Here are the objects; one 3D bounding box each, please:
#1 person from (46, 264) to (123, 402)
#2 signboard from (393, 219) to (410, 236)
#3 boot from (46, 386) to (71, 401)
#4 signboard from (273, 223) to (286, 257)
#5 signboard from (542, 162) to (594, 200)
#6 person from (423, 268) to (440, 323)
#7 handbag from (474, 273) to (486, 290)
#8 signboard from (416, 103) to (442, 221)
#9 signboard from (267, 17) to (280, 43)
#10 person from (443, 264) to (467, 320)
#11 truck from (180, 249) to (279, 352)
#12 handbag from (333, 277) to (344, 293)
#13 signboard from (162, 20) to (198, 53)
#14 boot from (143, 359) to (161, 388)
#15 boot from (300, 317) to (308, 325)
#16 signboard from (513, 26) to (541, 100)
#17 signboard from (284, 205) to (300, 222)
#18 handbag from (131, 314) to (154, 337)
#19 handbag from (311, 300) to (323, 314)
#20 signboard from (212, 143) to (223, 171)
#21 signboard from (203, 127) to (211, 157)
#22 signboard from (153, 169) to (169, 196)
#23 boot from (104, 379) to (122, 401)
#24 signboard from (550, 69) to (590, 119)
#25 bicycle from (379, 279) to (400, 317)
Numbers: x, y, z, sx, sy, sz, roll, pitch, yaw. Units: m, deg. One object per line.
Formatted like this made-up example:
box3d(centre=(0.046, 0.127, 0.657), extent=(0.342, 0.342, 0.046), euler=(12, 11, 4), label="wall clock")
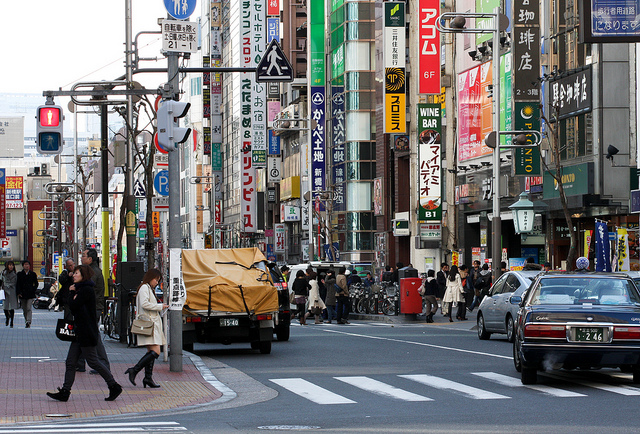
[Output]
box3d(centre=(-4.541, 2.230, 20.949), extent=(1.220, 2.418, 0.702), euler=(-1, 0, -15), label="person")
box3d(centre=(4.573, 0.600, 61.819), extent=(0.711, 1.141, 1.271), euler=(4, -5, -26), label="signboard")
box3d(centre=(-4.933, 3.392, 20.777), extent=(0.479, 0.362, 0.189), euler=(18, -2, 7), label="boot")
box3d(centre=(-3.117, 1.583, 76.859), extent=(1.394, 2.248, 1.501), euler=(0, -4, 11), label="signboard")
box3d(centre=(10.176, -1.425, 44.835), extent=(0.364, 1.350, 2.842), euler=(2, -5, -28), label="signboard")
box3d(centre=(4.078, 2.897, 40.110), extent=(0.601, 1.959, 1.589), euler=(-1, 0, 6), label="person")
box3d(centre=(5.603, 2.305, 38.253), extent=(0.266, 0.641, 0.570), euler=(7, -12, 1), label="handbag")
box3d(centre=(5.261, -2.839, 52.613), extent=(1.286, 5.850, 0.409), euler=(2, -16, -4), label="signboard")
box3d(centre=(-3.241, -13.019, 74.477), extent=(0.737, 1.643, 1.688), euler=(-1, -1, -8), label="signboard")
box3d(centre=(4.964, 2.834, 40.358), extent=(0.688, 2.014, 1.399), euler=(-1, 0, 10), label="person")
box3d(centre=(-2.752, 2.132, 30.276), extent=(2.596, 2.766, 4.865), euler=(0, -3, -11), label="truck")
box3d(centre=(0.670, 2.605, 40.546), extent=(0.086, 0.328, 0.329), euler=(-36, 33, -23), label="handbag")
box3d(centre=(-3.314, -4.305, 25.834), extent=(0.914, 0.751, 0.714), euler=(-1, -1, -17), label="signboard")
box3d(centre=(-3.483, 3.210, 22.380), extent=(0.347, 0.536, 0.419), euler=(-1, 0, -17), label="boot")
box3d(centre=(-0.617, 3.857, 40.462), extent=(0.256, 0.267, 0.505), euler=(-1, -1, -1), label="boot")
box3d(centre=(8.785, -6.568, 46.128), extent=(0.337, 4.420, 1.512), euler=(-7, 9, -42), label="signboard")
box3d(centre=(-2.065, -0.317, 76.974), extent=(0.849, 1.057, 1.670), euler=(-1, -1, 28), label="signboard")
box3d(centre=(-3.671, 2.235, 22.447), extent=(0.461, 0.418, 0.307), euler=(-1, 0, -10), label="handbag")
box3d(centre=(-0.142, 3.348, 40.682), extent=(0.483, 0.701, 0.132), euler=(1, 8, -4), label="handbag")
box3d(centre=(-9.152, -5.384, 95.914), extent=(0.752, 2.307, 0.755), euler=(-1, 0, -8), label="signboard")
box3d(centre=(-10.567, -7.245, 101.182), extent=(0.627, 2.469, 2.058), euler=(-1, 0, -9), label="signboard")
box3d(centre=(-5.199, -1.138, 35.457), extent=(0.425, 0.801, 1.126), euler=(-1, -1, -4), label="signboard")
box3d(centre=(-3.971, 3.320, 20.894), extent=(0.339, 0.378, 0.336), euler=(-1, -1, -26), label="boot")
box3d(centre=(10.245, -5.116, 44.900), extent=(2.882, 1.770, 0.061), euler=(-18, 22, -39), label="signboard")
box3d(centre=(2.772, 3.219, 44.577), extent=(0.902, 1.271, 1.993), euler=(-6, 10, -10), label="bicycle")
